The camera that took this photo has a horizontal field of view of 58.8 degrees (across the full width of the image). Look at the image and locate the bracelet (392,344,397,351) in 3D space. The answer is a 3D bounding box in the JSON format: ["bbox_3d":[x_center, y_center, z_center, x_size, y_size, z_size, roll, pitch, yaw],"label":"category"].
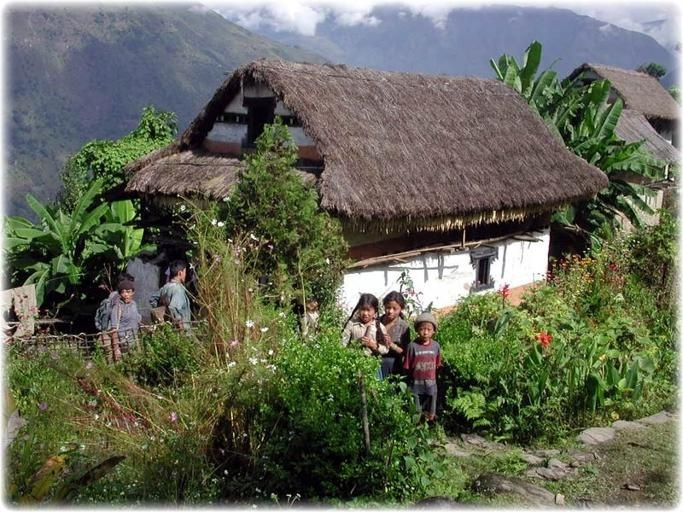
[{"bbox_3d":[0.684,1.145,7.681,0.048,0.047,0.082,26,-1,33],"label":"bracelet"}]

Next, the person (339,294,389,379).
[{"bbox_3d":[0.303,0.867,7.669,0.575,0.779,0.527,2,-3,16],"label":"person"}]

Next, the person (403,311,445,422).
[{"bbox_3d":[1.027,1.408,7.708,0.504,1.397,0.292,4,-3,-36],"label":"person"}]

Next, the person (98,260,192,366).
[{"bbox_3d":[-2.870,0.858,8.963,1.104,1.462,0.611,-1,-27,-7],"label":"person"}]

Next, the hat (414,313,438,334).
[{"bbox_3d":[1.083,0.850,7.751,0.237,0.212,0.253,4,-21,9],"label":"hat"}]
